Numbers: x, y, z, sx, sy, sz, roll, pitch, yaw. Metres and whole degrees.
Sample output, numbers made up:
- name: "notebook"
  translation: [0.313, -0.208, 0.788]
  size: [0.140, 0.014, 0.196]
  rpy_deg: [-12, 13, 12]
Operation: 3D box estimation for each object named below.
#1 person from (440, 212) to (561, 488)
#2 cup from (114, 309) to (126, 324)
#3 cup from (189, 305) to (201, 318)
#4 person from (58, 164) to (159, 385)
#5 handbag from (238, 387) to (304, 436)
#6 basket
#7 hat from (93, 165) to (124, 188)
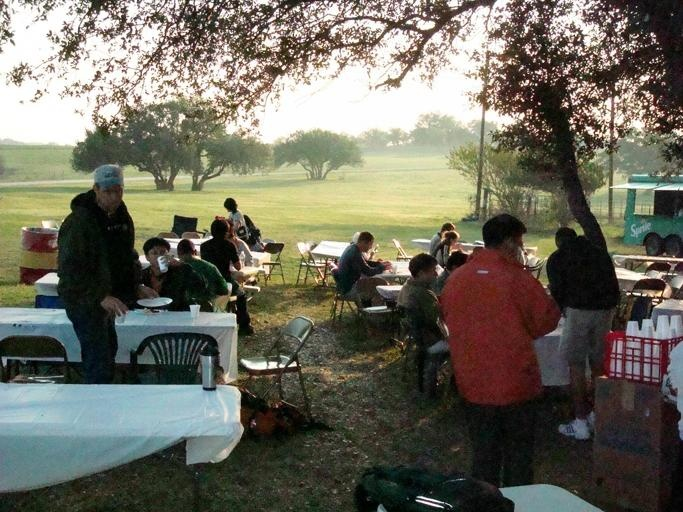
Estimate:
- name: "person"
  translation: [1.169, 0.739, 4.370]
  size: [0.811, 2.079, 0.318]
  rpy_deg: [-2, 6, 4]
- name: "cup"
  translation: [-2.142, 0.588, 5.635]
  size: [0.059, 0.053, 0.226]
  rpy_deg: [12, -42, -10]
- name: "cup"
  translation: [-1.636, 0.618, 6.518]
  size: [0.116, 0.119, 0.121]
  rpy_deg: [0, 6, 0]
- name: "person"
  translation: [-2.244, 0.196, 5.361]
  size: [0.627, 2.007, 1.183]
  rpy_deg: [-2, 6, 4]
- name: "handbag"
  translation: [-0.741, 1.680, 6.233]
  size: [0.643, 0.402, 0.357]
  rpy_deg: [-3, 6, -8]
- name: "basket"
  translation: [2.339, 0.823, 4.660]
  size: [0.423, 0.290, 0.438]
  rpy_deg: [5, 7, 37]
- name: "hat"
  translation: [-2.100, -0.731, 5.330]
  size: [0.182, 0.159, 0.258]
  rpy_deg: [-1, 15, -5]
